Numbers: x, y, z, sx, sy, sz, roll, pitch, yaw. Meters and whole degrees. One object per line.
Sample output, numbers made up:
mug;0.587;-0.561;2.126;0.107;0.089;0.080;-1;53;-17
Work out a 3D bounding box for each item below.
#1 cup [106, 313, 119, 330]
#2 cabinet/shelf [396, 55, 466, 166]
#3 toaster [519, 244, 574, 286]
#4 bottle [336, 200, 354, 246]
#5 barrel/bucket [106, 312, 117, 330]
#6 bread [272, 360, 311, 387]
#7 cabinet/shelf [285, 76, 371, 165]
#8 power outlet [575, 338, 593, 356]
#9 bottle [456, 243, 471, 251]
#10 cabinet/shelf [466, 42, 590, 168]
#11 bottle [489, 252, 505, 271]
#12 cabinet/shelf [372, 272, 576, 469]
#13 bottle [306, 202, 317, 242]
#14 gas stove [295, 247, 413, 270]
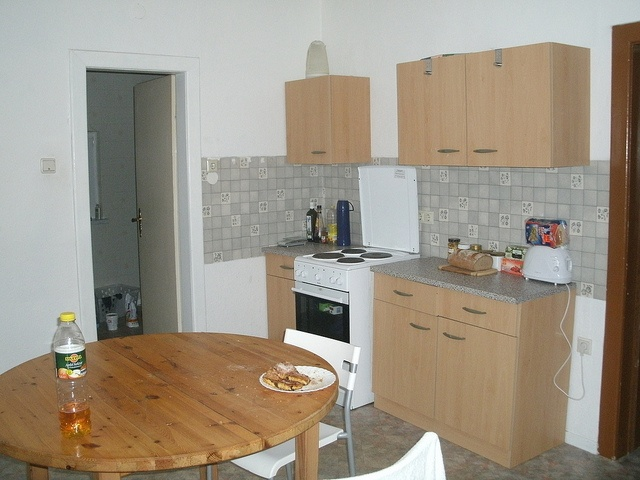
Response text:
cup;-2.204;0.879;5.365;0.132;0.171;0.164;3;7;10
cabinet/shelf;0.786;-0.894;3.434;0.273;0.870;0.700;-7;10;-34
toaster;1.459;0.151;3.194;0.175;0.245;0.313;0;3;-37
bottle;0.231;-0.152;4.457;0.159;0.400;0.211;0;10;1
barrel/bucket;-2.205;0.873;5.355;0.126;0.162;0.155;5;7;27
bread;-0.123;0.553;2.099;0.076;0.035;0.124;-5;13;-31
cabinet/shelf;0.076;-1.045;4.460;0.510;0.718;0.724;-13;19;-39
power outlet;1.719;0.693;3.219;0.062;0.120;0.113;-4;6;-32
bottle;1.059;0.054;3.644;0.082;0.026;0.111;2;11;14
cabinet/shelf;1.294;-0.817;3.018;0.397;0.774;0.727;-5;7;-36
bottle;1.235;0.148;3.512;0.108;0.141;0.106;-1;10;0
cabinet/shelf;1.047;0.782;3.551;0.717;1.122;1.136;-5;8;-40
bottle;-0.076;-0.170;4.697;0.103;0.343;0.239;-1;10;-1
gas stove;0.317;0.160;3.900;0.887;0.048;0.508;-1;10;-3
